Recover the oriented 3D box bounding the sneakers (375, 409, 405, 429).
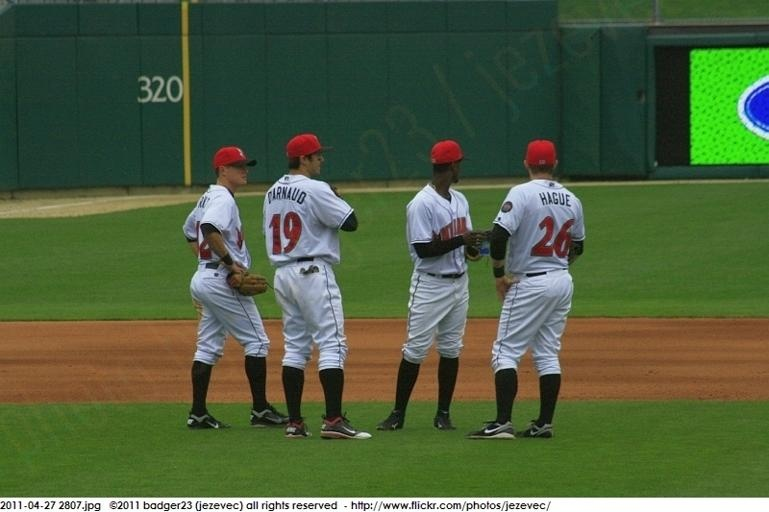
[{"bbox_3d":[0.119,2.741,25.929,0.489,0.258,0.242,0,-3,0],"label":"sneakers"}]

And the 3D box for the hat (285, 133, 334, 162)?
[{"bbox_3d":[-1.261,-1.745,26.005,0.851,0.431,0.546,-13,19,-9],"label":"hat"}]

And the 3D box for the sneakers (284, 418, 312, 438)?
[{"bbox_3d":[-1.414,2.839,25.631,0.209,0.192,0.460,0,1,18],"label":"sneakers"}]

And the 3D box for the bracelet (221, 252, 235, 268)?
[{"bbox_3d":[-2.575,0.067,25.908,0.197,0.179,0.187,29,2,-23],"label":"bracelet"}]

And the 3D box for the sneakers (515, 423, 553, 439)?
[{"bbox_3d":[2.513,2.875,25.741,0.666,0.266,0.227,2,0,14],"label":"sneakers"}]

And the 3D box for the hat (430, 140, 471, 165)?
[{"bbox_3d":[1.090,-1.740,26.363,0.508,0.376,1.227,3,7,3],"label":"hat"}]
